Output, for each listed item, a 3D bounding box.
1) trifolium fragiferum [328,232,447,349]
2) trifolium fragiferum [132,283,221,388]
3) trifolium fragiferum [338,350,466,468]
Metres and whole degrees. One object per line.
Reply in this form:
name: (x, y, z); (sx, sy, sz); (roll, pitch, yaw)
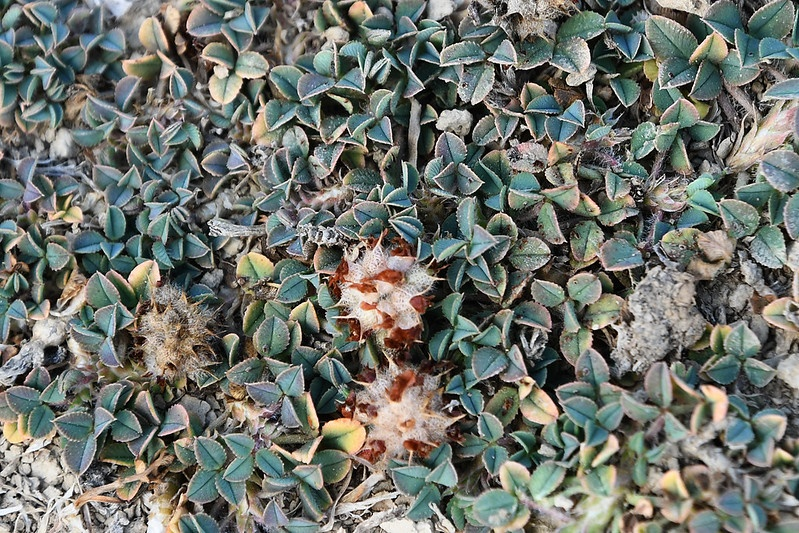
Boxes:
trifolium fragiferum: (-0.046, 0.098, 2.736); (0.336, 0.170, 0.405); (-6, 84, 10)
trifolium fragiferum: (-0.796, 0.245, 2.772); (0.272, 0.142, 0.340); (11, 71, -6)
trifolium fragiferum: (0.014, 0.509, 2.777); (0.325, 0.158, 0.391); (-9, 89, 3)
